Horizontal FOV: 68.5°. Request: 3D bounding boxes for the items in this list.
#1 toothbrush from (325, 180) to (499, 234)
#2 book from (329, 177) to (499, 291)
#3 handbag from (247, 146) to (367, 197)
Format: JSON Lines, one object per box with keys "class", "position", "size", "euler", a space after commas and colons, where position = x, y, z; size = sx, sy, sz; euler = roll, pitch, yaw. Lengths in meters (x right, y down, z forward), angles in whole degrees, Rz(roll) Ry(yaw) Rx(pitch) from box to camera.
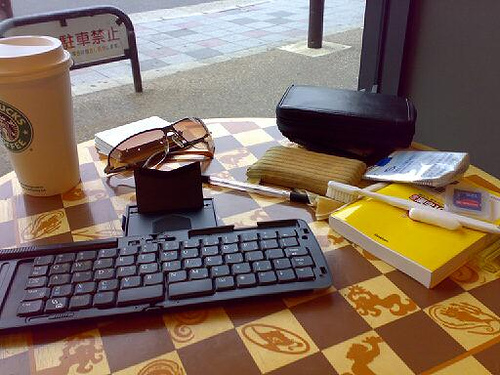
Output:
{"class": "toothbrush", "position": [0.294, 0.038, 0.666], "size": [0.260, 0.031, 0.021], "euler": [16, 45, 19]}
{"class": "book", "position": [0.284, 0.071, 0.648], "size": [0.183, 0.042, 0.203], "euler": [-24, 39, -28]}
{"class": "handbag", "position": [0.120, -0.047, 0.783], "size": [0.203, 0.042, 0.115], "euler": [8, 32, 17]}
